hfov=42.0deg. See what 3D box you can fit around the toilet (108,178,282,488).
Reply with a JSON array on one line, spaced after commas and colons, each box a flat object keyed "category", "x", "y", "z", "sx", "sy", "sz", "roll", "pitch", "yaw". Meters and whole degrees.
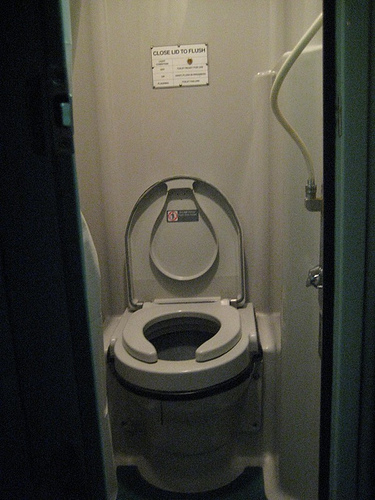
[{"category": "toilet", "x": 0.013, "y": 0.224, "z": 1.352, "sx": 0.449, "sy": 0.844, "sz": 0.442, "roll": -6, "pitch": 21, "yaw": -9}]
